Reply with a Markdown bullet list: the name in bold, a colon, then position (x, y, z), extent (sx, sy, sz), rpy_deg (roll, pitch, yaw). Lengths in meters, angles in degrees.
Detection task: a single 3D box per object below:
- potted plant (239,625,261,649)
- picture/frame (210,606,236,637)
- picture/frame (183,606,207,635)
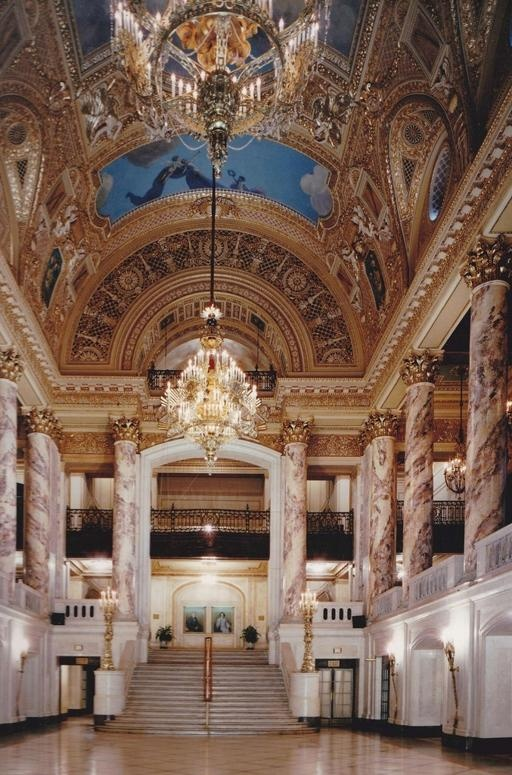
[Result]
- **potted plant**: position (-0.184, 7.011, 21.918), extent (0.687, 0.861, 0.853), rpy_deg (3, -23, -4)
- **picture/frame**: position (-1.064, 7.445, 24.745), extent (0.912, 1.073, 0.112), rpy_deg (1, -30, -2)
- **picture/frame**: position (-1.957, 7.423, 24.722), extent (0.857, 1.004, 0.077), rpy_deg (2, -28, -6)
